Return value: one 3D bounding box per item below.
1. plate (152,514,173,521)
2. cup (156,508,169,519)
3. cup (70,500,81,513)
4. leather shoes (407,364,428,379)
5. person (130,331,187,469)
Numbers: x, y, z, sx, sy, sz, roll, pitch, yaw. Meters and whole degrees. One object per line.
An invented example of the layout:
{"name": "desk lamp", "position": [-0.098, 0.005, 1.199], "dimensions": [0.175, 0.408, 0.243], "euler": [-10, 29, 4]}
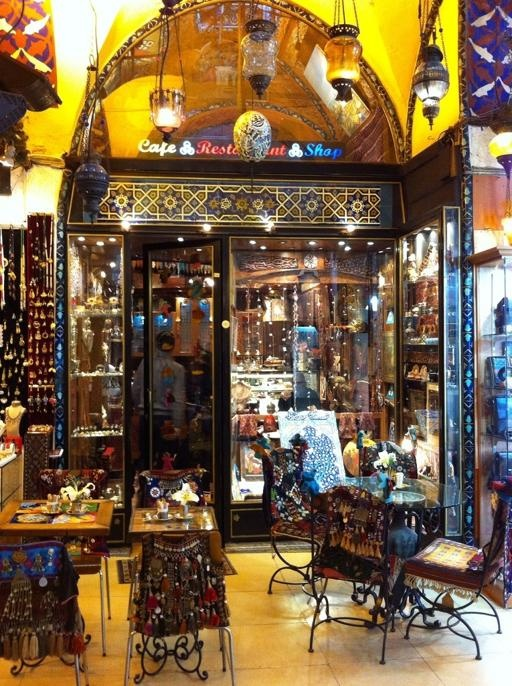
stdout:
{"name": "plate", "position": [-0.529, 0.987, 3.341], "dimensions": [0.063, 0.028, 0.063], "euler": [0, 0, -3]}
{"name": "cup", "position": [-0.532, 0.973, 3.365], "dimensions": [0.046, 0.074, 0.076], "euler": [0, 1, -3]}
{"name": "cup", "position": [-1.023, 0.935, 3.342], "dimensions": [0.047, 0.068, 0.066], "euler": [4, -5, -27]}
{"name": "leather shoes", "position": [1.312, 0.228, 4.746], "dimensions": [0.132, 0.062, 0.182], "euler": [-1, 0, 5]}
{"name": "person", "position": [-0.891, 0.553, 5.340], "dimensions": [0.467, 1.484, 0.460], "euler": [7, 26, 0]}
